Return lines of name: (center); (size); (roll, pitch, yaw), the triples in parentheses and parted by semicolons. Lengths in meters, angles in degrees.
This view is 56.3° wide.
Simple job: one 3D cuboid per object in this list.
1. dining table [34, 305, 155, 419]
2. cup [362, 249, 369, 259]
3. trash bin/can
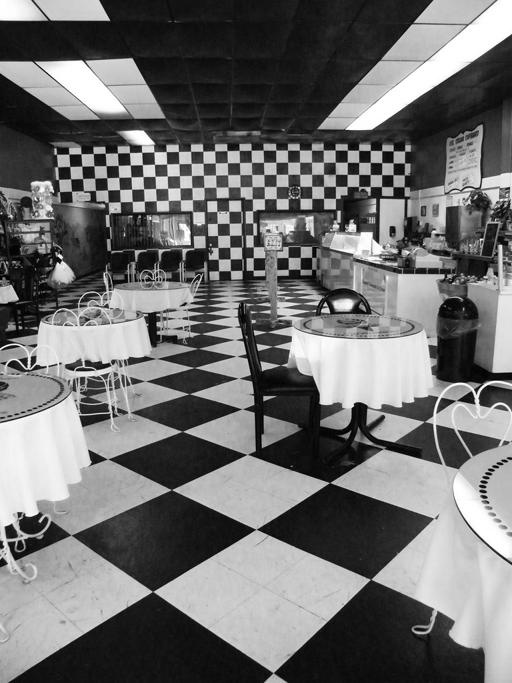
dining table: (-1.136, 0.118, 3.520); (0.516, 0.671, 0.545); (3, -19, -31)
cup: (1.607, -1.285, 7.047); (0.110, 0.124, 0.142); (-1, 9, 2)
trash bin/can: (1.636, -0.015, 3.922); (0.299, 0.683, 0.228); (4, 11, 25)
